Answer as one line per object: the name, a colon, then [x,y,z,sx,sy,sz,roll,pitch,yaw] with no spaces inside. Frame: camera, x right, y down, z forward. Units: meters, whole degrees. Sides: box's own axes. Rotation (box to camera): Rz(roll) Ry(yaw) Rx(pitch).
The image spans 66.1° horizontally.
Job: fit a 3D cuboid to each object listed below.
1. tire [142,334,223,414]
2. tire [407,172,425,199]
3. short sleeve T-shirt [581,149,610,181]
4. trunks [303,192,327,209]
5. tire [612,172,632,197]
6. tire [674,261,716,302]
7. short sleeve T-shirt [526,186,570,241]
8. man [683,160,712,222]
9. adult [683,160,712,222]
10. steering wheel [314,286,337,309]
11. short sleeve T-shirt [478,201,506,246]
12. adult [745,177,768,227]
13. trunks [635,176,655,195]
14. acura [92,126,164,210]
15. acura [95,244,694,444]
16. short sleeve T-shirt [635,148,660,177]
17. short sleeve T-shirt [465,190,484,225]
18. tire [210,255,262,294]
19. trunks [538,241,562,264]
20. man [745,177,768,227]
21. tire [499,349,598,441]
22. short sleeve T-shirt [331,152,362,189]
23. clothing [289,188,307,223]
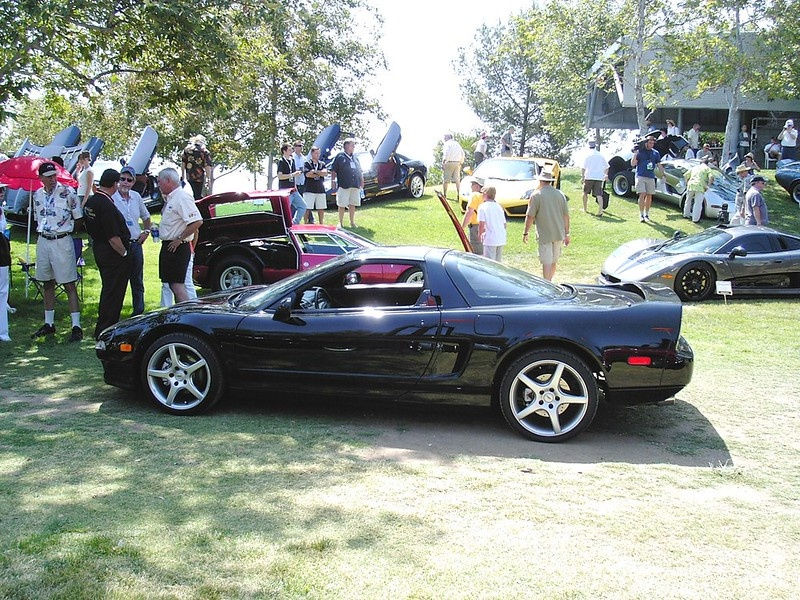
tire: [-2.153,0.726,6.083,0.827,0.827,0.294,4,9,10]
tire: [0.489,-3.885,20.744,0.287,0.814,0.817,16,14,27]
short sleeve T-shirt: [5.621,-3.868,17.646,0.654,0.879,0.647,5,13,17]
trunks: [-2.068,-2.401,14.824,0.652,0.606,0.374,0,19,-5]
tire: [7.477,-3.854,20.562,0.365,0.866,0.863,0,4,-34]
tire: [5.407,-0.376,11.248,0.672,0.673,0.240,-4,5,-1]
short sleeve T-shirt: [2.568,-1.499,10.673,0.723,0.964,0.298,2,13,1]
man: [8.688,-3.125,17.950,0.706,1.689,1.095,8,14,28]
adult: [8.679,-3.124,17.942,0.692,1.689,1.073,8,14,28]
steering wheel: [-0.760,-0.021,6.205,0.046,0.197,0.197,-22,-9,31]
short sleeve T-shirt: [1.601,-1.346,10.693,0.524,0.776,0.347,0,13,-8]
adult: [7.794,-2.152,13.338,0.483,1.081,0.823,8,15,29]
trunks: [7.024,-3.263,17.541,0.509,0.497,0.316,5,13,15]
acura: [-6.016,-3.199,14.321,0.941,1.393,1.234,10,0,-1]
acura: [-0.121,0.322,6.383,5.242,1.522,2.327,5,1,8]
short sleeve T-shirt: [7.069,-3.932,17.648,0.514,0.798,0.895,6,13,19]
short sleeve T-shirt: [1.263,-1.711,11.122,0.185,0.658,0.381,10,5,40]
tire: [-2.618,-0.431,9.807,0.640,0.641,0.226,4,2,4]
trunks: [2.663,-0.885,10.789,0.371,0.617,0.451,0,11,5]
man: [7.797,-2.151,13.336,0.480,1.081,0.825,8,14,28]
tire: [1.337,0.820,5.509,0.800,0.799,0.263,-3,1,6]
short sleeve T-shirt: [-1.312,-3.283,15.464,0.941,0.914,0.521,-3,8,-33]
clothing: [-2.284,-2.081,13.532,0.555,0.339,1.226,-10,-11,-7]
